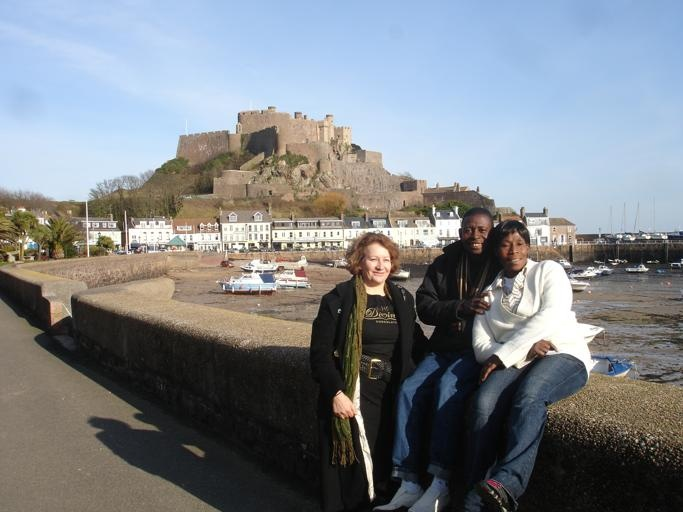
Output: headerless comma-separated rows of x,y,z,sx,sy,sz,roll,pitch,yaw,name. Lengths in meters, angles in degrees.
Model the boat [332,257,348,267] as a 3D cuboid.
-0.238,0.601,53.188,1.008,0.571,1.470,-1,-5,-4,boat
